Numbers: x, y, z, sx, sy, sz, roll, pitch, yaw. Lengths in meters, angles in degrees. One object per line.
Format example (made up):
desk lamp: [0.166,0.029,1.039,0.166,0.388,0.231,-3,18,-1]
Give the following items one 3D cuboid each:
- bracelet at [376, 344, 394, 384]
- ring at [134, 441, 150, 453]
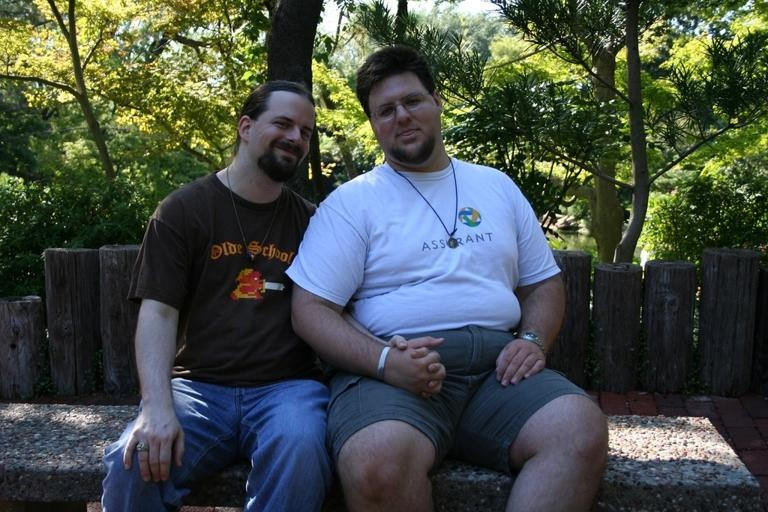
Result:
bracelet: [0.005,0.549,3.066,0.031,0.133,0.136,4,-10,13]
ring: [-1.149,0.903,2.841,0.037,0.030,0.051,-2,-29,-10]
